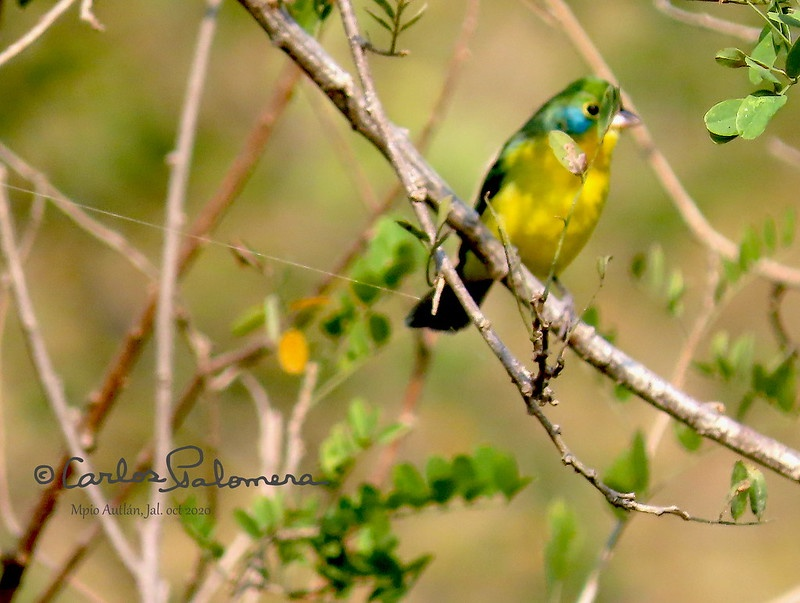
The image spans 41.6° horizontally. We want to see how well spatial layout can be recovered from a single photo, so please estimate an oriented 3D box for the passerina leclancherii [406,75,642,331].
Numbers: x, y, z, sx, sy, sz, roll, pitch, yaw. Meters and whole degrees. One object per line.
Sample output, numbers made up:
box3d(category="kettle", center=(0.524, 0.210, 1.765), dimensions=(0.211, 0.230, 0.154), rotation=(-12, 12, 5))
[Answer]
box3d(category="passerina leclancherii", center=(0.329, -0.277, 2.834), dimensions=(0.286, 0.654, 0.643), rotation=(3, -87, -38))
